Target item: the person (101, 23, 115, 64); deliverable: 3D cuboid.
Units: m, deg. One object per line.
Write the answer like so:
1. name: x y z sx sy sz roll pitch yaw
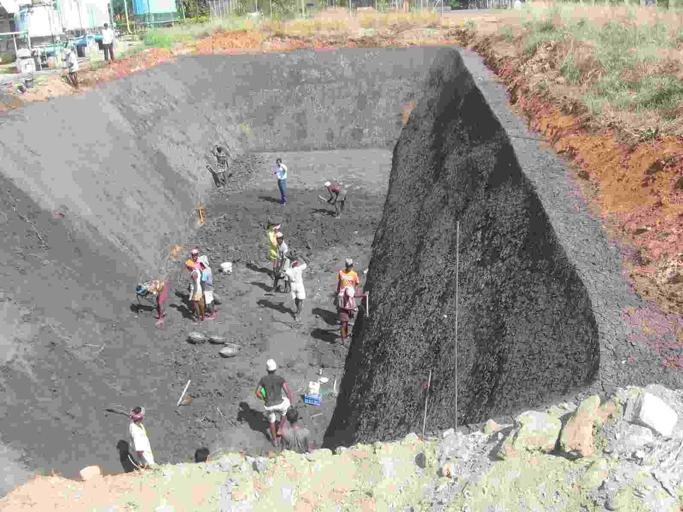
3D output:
1. person: -8.704 -7.907 28.669 0.459 1.264 1.838 -10 35 -14

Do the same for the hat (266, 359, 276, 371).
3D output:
1. hat: -1.244 1.961 13.700 0.185 0.287 0.087 0 17 -1

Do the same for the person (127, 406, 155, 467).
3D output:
1. person: -3.487 3.154 13.368 0.281 1.039 0.508 -14 58 -16

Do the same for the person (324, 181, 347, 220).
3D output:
1. person: -0.183 -1.488 21.235 0.585 1.040 0.426 13 56 20

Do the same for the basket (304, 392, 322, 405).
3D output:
1. basket: -0.577 2.763 15.033 0.263 0.161 0.186 2 42 8

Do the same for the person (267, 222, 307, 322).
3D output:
1. person: -0.977 0.204 17.241 0.933 1.208 1.867 -8 39 -8

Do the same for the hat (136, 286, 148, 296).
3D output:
1. hat: -4.241 0.711 16.317 0.183 0.146 0.193 18 16 11

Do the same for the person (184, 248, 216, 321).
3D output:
1. person: -3.107 0.690 16.887 0.527 1.432 0.699 5 45 -5
